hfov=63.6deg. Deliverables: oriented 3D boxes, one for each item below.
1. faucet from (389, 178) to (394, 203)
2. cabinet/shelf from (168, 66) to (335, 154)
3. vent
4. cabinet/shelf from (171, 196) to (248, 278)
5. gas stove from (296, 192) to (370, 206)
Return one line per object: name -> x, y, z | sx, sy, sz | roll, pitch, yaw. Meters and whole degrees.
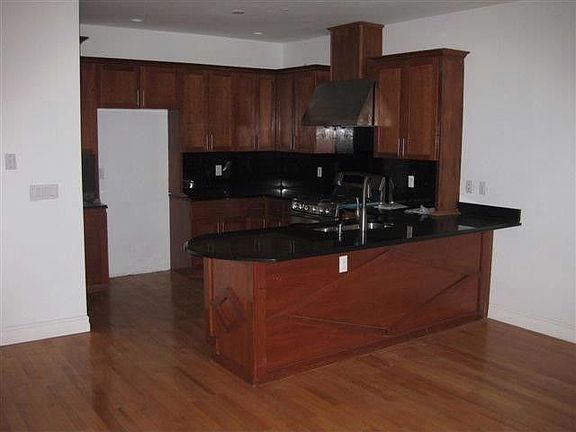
faucet -> 1.240, -0.318, 5.637 | 0.047, 0.310, 0.125 | -8, 13, -25
cabinet/shelf -> -0.583, -1.509, 6.456 | 1.487, 0.908, 1.452 | -4, 6, -33
vent -> 0.640, -1.374, 5.613 | 0.496, 0.554, 0.896 | -8, 13, -40
cabinet/shelf -> -1.127, 0.223, 6.413 | 1.092, 1.078, 0.524 | -4, 11, -9
gas stove -> 0.528, -0.216, 5.816 | 0.565, 0.085, 0.823 | -10, 13, -38
